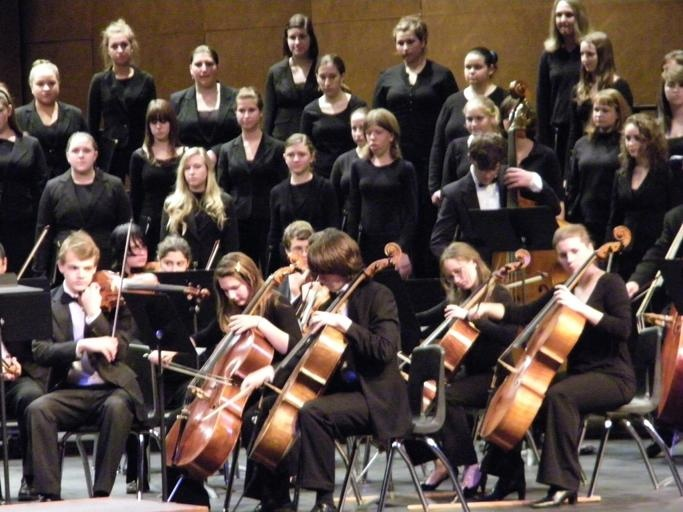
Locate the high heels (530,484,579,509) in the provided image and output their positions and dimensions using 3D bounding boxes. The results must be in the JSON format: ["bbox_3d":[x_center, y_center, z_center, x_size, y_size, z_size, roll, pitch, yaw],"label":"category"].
[{"bbox_3d":[1.075,1.214,4.281,0.279,0.123,0.095,3,-11,-10],"label":"high heels"}]

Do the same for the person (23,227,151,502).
[{"bbox_3d":[-1.364,0.606,4.550,0.601,1.430,0.690,-2,4,-17],"label":"person"}]

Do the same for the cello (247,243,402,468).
[{"bbox_3d":[-0.092,0.485,4.144,0.720,1.050,0.332,-2,4,-11],"label":"cello"}]

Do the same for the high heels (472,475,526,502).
[{"bbox_3d":[0.862,1.253,4.600,0.334,0.171,0.116,2,-8,3],"label":"high heels"}]

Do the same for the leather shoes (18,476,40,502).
[{"bbox_3d":[-1.692,1.266,4.647,0.102,0.125,0.286,3,-8,-19],"label":"leather shoes"}]

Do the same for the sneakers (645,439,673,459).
[{"bbox_3d":[2.024,1.257,5.510,0.242,0.116,0.088,0,-6,9],"label":"sneakers"}]

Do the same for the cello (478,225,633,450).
[{"bbox_3d":[1.060,0.418,4.421,0.757,1.141,0.711,1,4,28],"label":"cello"}]

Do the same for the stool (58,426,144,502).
[{"bbox_3d":[-1.305,1.146,4.668,0.347,0.429,0.437,7,-13,-33],"label":"stool"}]
